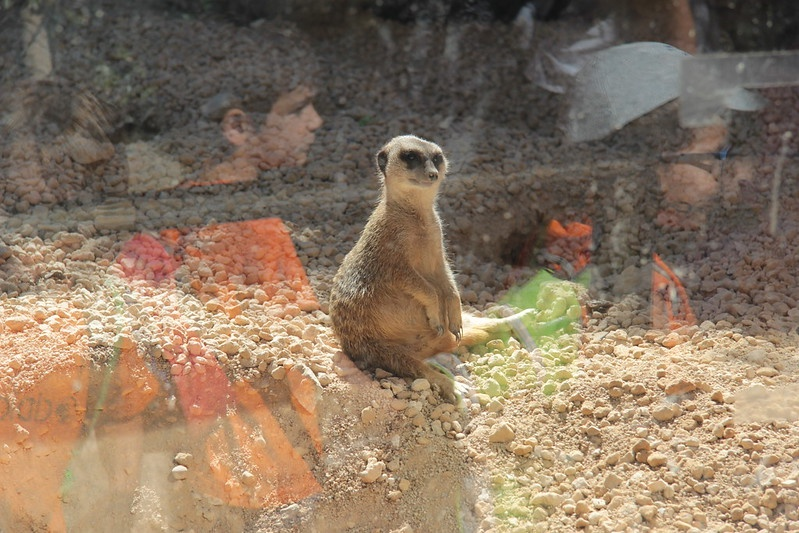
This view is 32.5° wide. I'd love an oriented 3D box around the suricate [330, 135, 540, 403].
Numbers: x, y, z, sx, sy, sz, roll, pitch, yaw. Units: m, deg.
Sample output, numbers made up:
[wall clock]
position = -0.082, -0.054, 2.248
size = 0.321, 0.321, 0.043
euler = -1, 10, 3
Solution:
[suricate]
position = 0.321, -0.078, 10.554
size = 1.306, 1.847, 1.621
euler = -14, 21, -34
